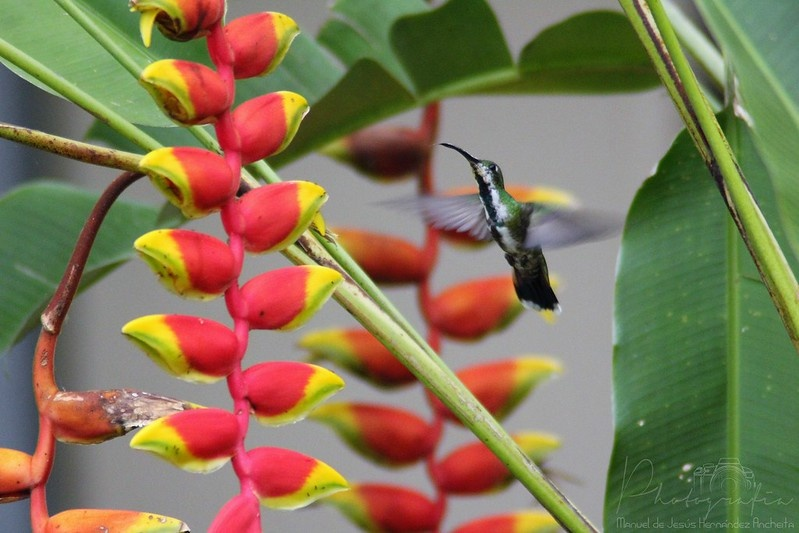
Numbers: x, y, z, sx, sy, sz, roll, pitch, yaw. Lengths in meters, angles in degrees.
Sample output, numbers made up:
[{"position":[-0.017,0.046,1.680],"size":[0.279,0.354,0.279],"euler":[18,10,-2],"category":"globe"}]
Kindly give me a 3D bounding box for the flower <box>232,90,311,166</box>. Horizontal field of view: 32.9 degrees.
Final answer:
[{"position":[-0.099,-0.107,1.023],"size":[0.037,0.068,0.033],"euler":[45,-16,15],"category":"flower"}]

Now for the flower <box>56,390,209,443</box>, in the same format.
[{"position":[-0.216,0.110,1.029],"size":[0.154,0.038,0.039],"euler":[-1,4,-8],"category":"flower"}]

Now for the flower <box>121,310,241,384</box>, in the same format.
[{"position":[-0.161,0.059,1.023],"size":[0.095,0.045,0.055],"euler":[13,27,2],"category":"flower"}]

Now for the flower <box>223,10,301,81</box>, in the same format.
[{"position":[-0.104,-0.170,1.023],"size":[0.061,0.037,0.039],"euler":[-31,-14,-15],"category":"flower"}]

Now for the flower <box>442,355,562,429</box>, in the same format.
[{"position":[0.118,0.125,1.452],"size":[0.125,0.043,0.064],"euler":[-17,21,-12],"category":"flower"}]

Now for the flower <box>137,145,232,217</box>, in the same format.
[{"position":[-0.154,-0.062,1.001],"size":[0.059,0.048,0.026],"euler":[24,9,1],"category":"flower"}]

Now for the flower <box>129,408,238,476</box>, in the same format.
[{"position":[-0.157,0.125,0.997],"size":[0.072,0.034,0.041],"euler":[-3,26,-16],"category":"flower"}]

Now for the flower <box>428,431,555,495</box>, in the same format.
[{"position":[0.112,0.221,1.504],"size":[0.094,0.080,0.124],"euler":[3,-8,35],"category":"flower"}]

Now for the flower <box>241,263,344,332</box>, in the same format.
[{"position":[-0.081,0.023,1.017],"size":[0.084,0.044,0.027],"euler":[-15,-26,-3],"category":"flower"}]

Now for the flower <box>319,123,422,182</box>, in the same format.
[{"position":[-0.024,-0.124,1.464],"size":[0.121,0.048,0.048],"euler":[3,-9,14],"category":"flower"}]

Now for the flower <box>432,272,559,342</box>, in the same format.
[{"position":[0.099,0.045,1.473],"size":[0.143,0.053,0.046],"euler":[-1,-11,-2],"category":"flower"}]

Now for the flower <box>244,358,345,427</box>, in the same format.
[{"position":[-0.076,0.095,1.013],"size":[0.071,0.040,0.022],"euler":[-18,-13,-5],"category":"flower"}]

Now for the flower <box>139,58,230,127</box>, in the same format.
[{"position":[-0.154,-0.129,1.005],"size":[0.057,0.044,0.033],"euler":[27,23,-6],"category":"flower"}]

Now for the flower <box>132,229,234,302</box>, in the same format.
[{"position":[-0.156,-0.002,1.002],"size":[0.065,0.034,0.047],"euler":[21,-38,-15],"category":"flower"}]

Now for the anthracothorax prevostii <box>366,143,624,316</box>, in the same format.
[{"position":[0.093,-0.037,1.255],"size":[0.226,0.099,0.183],"euler":[10,-16,22],"category":"anthracothorax prevostii"}]

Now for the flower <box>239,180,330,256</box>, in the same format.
[{"position":[-0.091,-0.036,1.030],"size":[0.065,0.059,0.038],"euler":[8,-7,-6],"category":"flower"}]
